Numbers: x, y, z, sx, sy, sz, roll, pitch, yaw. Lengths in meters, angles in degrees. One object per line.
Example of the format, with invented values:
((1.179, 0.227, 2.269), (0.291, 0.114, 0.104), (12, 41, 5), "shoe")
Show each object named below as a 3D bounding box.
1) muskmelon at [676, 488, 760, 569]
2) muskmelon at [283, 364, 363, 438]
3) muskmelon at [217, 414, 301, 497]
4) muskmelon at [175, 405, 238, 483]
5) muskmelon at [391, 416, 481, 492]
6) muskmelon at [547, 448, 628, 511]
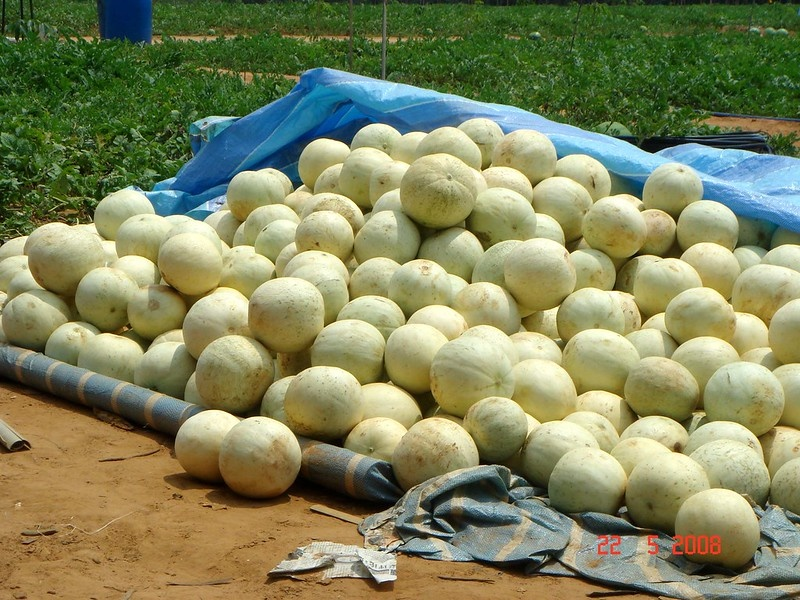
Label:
((1.597, 1.209, 4.316), (0.469, 0.371, 0.396), (2, -27, -4), "muskmelon")
((-0.588, 0.619, 4.982), (0.407, 0.368, 0.418), (-21, -1, -21), "muskmelon")
((-0.957, 0.959, 4.752), (0.570, 0.481, 0.538), (10, -12, -27), "muskmelon")
((-1.159, 0.843, 4.755), (0.472, 0.375, 0.394), (3, -6, -2), "muskmelon")
((0.194, 0.848, 4.732), (0.514, 0.386, 0.427), (-20, 11, 5), "muskmelon")
((1.043, 1.005, 4.600), (0.352, 0.309, 0.320), (24, -4, 32), "muskmelon")
